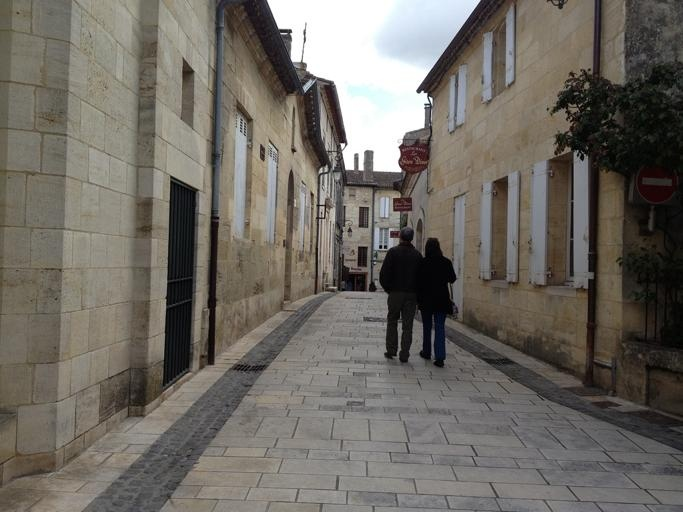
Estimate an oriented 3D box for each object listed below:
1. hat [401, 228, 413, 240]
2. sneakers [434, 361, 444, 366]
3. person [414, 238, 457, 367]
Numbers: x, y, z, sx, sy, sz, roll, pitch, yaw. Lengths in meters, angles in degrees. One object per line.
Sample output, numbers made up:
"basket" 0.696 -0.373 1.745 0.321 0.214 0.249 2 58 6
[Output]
"hat" 1.118 -0.345 9.551 0.177 0.242 0.223 4 15 3
"sneakers" 1.543 1.692 8.888 0.146 0.097 0.155 1 2 9
"person" 1.541 0.727 9.201 0.500 2.022 0.747 0 2 -35
